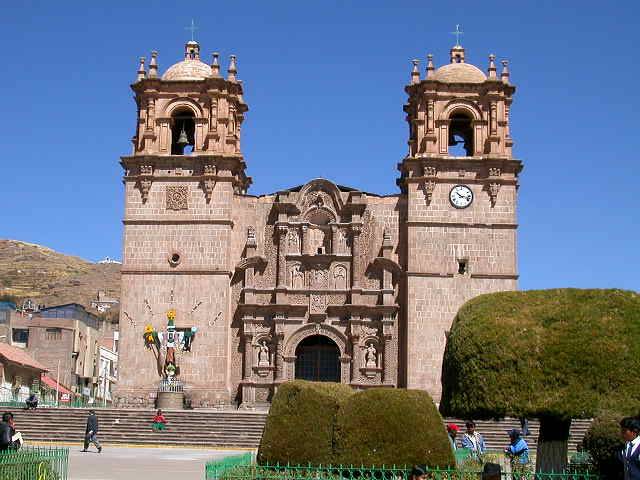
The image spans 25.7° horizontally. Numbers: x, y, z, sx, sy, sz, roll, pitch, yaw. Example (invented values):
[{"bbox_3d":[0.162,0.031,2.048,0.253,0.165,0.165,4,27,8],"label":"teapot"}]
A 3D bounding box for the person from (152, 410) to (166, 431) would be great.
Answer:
[{"bbox_3d":[-7.439,8.520,65.405,0.661,1.068,1.242,3,-15,-6],"label":"person"}]

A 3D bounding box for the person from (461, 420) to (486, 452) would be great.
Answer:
[{"bbox_3d":[5.979,7.851,54.995,0.846,1.352,1.246,-1,-15,6],"label":"person"}]

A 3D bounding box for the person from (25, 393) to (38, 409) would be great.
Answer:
[{"bbox_3d":[-13.921,7.934,67.982,0.566,0.914,1.317,4,-15,-10],"label":"person"}]

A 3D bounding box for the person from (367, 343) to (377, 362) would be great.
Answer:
[{"bbox_3d":[2.627,5.798,71.340,0.523,0.951,0.168,3,-15,-9],"label":"person"}]

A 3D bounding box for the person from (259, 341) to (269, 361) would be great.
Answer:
[{"bbox_3d":[-2.821,5.758,71.379,0.485,1.059,0.200,2,-14,-4],"label":"person"}]
